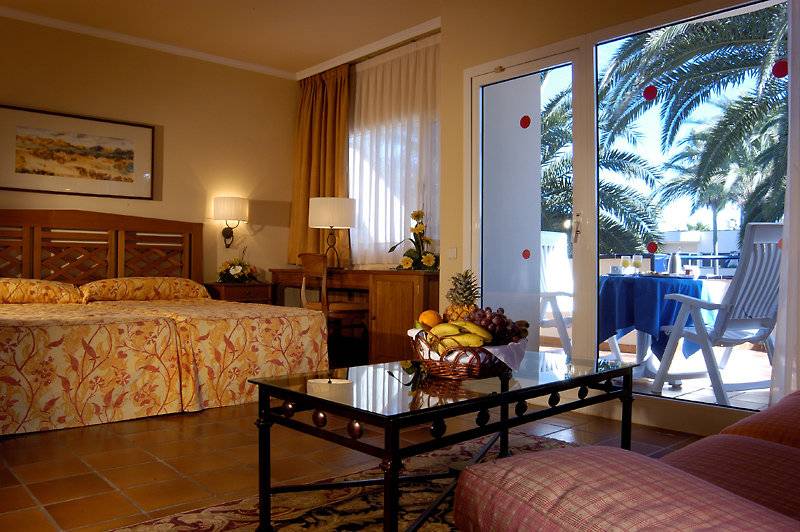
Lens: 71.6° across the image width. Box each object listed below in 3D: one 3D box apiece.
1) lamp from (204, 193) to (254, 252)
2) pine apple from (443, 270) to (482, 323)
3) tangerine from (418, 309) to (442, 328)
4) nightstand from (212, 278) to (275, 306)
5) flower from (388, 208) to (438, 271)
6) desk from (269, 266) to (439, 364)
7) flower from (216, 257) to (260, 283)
[{"bbox_3d":[-1.880,-0.464,6.113,0.556,0.849,0.549,-1,1,-39],"label":"lamp"},{"bbox_3d":[0.292,0.139,2.686,0.161,0.234,0.244,0,4,4],"label":"pine apple"},{"bbox_3d":[0.146,0.244,2.633,0.080,0.084,0.084,-16,11,-14],"label":"tangerine"},{"bbox_3d":[-1.720,0.194,6.024,0.432,0.404,0.289,-3,5,-44],"label":"nightstand"},{"bbox_3d":[0.137,-0.223,5.433,0.619,0.621,0.549,0,-1,-31],"label":"flower"},{"bbox_3d":[-0.463,0.504,5.622,1.750,0.916,0.505,1,-1,29],"label":"desk"},{"bbox_3d":[-1.792,0.029,6.132,0.289,0.207,0.289,0,3,-24],"label":"flower"}]
